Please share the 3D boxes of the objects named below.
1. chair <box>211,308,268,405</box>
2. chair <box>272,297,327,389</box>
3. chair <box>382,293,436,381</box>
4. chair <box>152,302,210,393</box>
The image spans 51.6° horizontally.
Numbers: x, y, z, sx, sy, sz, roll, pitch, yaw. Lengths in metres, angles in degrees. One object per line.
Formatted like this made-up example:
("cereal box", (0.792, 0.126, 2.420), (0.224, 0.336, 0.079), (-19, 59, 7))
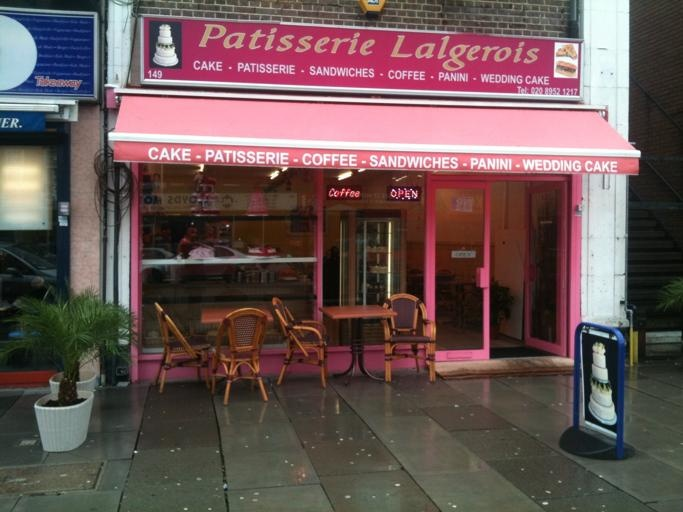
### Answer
("chair", (-1.442, 1.357, 10.229), (0.691, 1.361, 0.846), (0, 0, -33))
("chair", (-0.891, 1.269, 10.891), (1.307, 1.596, 1.220), (0, 1, 2))
("chair", (1.105, 1.240, 11.192), (0.854, 1.303, 0.740), (6, 4, 4))
("chair", (-2.384, 1.372, 10.411), (0.843, 1.321, 0.901), (3, 7, -7))
